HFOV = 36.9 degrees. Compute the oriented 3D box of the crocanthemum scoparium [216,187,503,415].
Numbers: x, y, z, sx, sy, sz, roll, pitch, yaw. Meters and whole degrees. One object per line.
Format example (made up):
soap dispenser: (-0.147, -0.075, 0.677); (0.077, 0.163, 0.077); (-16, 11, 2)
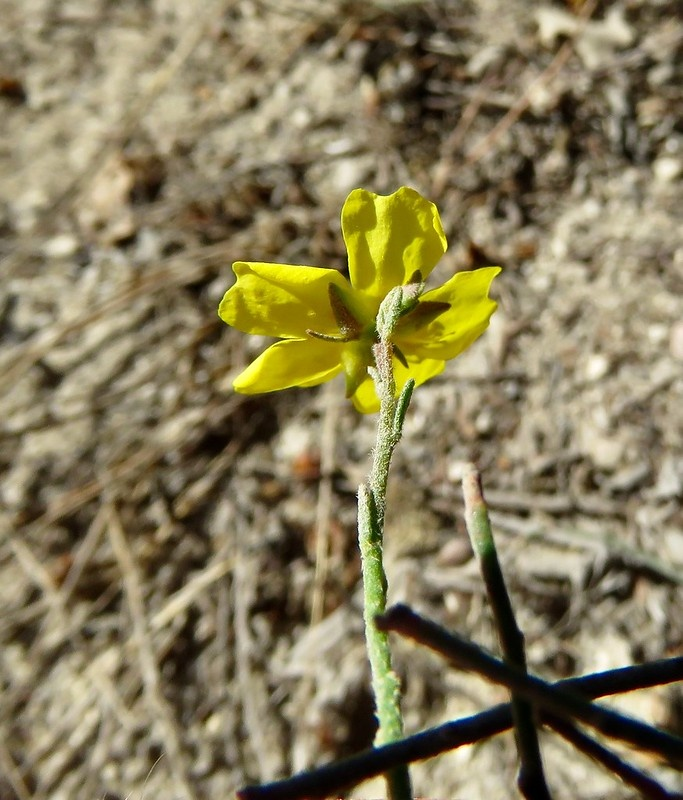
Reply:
crocanthemum scoparium: (0.012, -0.140, 1.871); (0.555, 0.502, 0.244); (-14, 74, -7)
